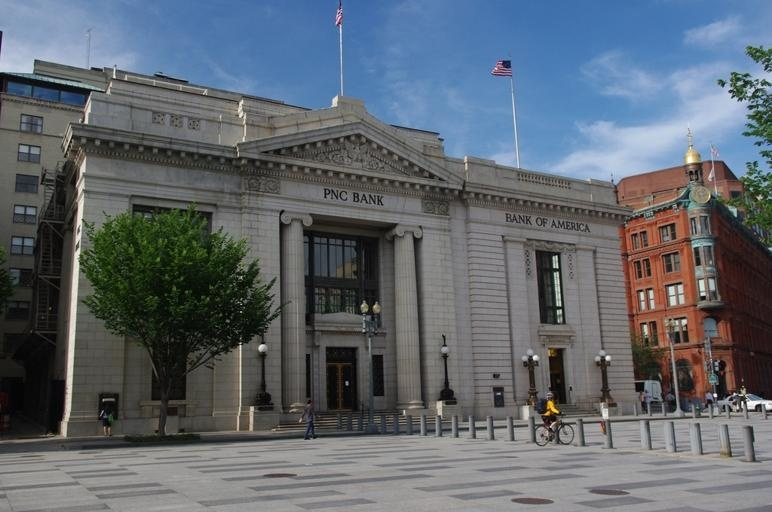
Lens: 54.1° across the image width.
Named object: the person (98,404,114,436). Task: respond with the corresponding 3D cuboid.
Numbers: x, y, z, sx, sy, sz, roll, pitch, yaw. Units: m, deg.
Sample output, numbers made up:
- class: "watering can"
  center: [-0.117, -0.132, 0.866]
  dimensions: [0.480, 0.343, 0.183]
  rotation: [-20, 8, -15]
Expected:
- class: "person"
  center: [-17.019, 9.989, 45.989]
  dimensions: [0.849, 1.962, 1.363]
  rotation: [5, -17, -19]
